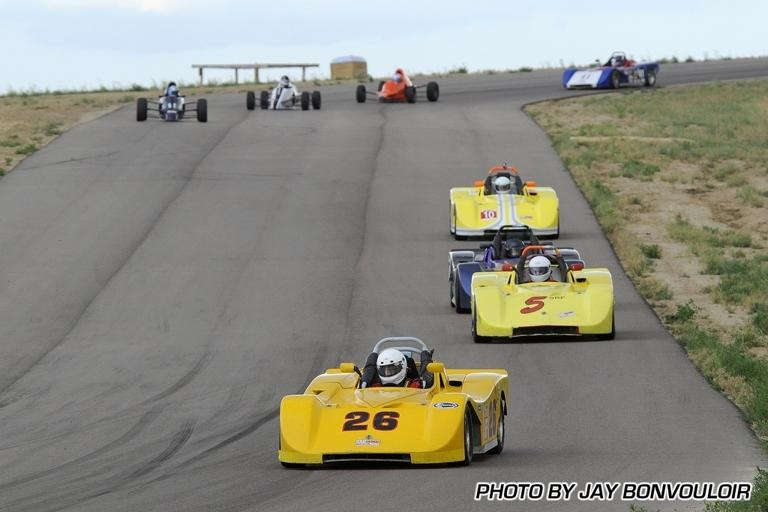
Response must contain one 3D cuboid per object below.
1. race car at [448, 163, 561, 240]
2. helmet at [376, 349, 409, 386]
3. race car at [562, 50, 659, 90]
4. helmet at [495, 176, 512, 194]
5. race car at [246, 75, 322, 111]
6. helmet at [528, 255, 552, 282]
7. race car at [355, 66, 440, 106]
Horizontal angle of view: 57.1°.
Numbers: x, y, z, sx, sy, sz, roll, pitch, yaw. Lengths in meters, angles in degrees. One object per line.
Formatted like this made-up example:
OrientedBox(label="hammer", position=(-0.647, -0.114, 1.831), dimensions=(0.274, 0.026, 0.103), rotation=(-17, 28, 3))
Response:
OrientedBox(label="race car", position=(4.264, -1.878, 24.463), dimensions=(3.826, 2.177, 6.034), rotation=(-1, 11, 2))
OrientedBox(label="helmet", position=(0.131, 1.724, 11.153), dimensions=(0.405, 0.428, 0.512), rotation=(-6, 11, 11))
OrientedBox(label="race car", position=(15.920, -12.952, 50.123), dimensions=(6.264, 2.252, 2.618), rotation=(-4, 11, -6))
OrientedBox(label="helmet", position=(3.894, -2.313, 23.097), dimensions=(0.435, 0.585, 0.459), rotation=(-3, -8, -1))
OrientedBox(label="race car", position=(-6.353, -10.027, 44.119), dimensions=(3.984, 2.001, 5.626), rotation=(-2, 11, 3))
OrientedBox(label="helmet", position=(3.491, 0.303, 15.801), dimensions=(0.426, 0.475, 0.562), rotation=(-5, 3, 13))
OrientedBox(label="race car", position=(0.911, -10.889, 45.742), dimensions=(5.071, 2.166, 3.167), rotation=(-2, 11, 6))
